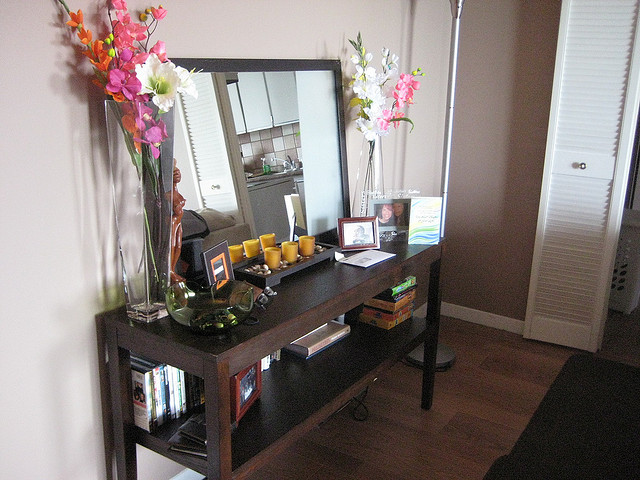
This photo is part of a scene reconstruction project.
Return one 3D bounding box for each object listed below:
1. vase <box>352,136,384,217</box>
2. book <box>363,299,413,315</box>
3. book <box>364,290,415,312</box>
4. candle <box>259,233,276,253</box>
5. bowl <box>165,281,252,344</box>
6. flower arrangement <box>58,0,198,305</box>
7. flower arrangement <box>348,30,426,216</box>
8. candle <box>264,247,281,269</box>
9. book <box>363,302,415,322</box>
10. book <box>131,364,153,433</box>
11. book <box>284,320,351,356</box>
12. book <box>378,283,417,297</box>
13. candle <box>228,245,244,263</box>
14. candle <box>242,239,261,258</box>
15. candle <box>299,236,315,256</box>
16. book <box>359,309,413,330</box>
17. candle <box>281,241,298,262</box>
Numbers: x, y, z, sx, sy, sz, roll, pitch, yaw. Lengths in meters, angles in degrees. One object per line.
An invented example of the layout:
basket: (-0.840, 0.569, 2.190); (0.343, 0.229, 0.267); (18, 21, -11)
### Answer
vase: (0.255, -0.336, 2.633); (0.182, 0.441, 0.375); (-5, 19, 1)
book: (0.347, 0.354, 2.546); (0.114, 0.028, 0.116); (9, 22, 42)
book: (0.351, 0.317, 2.497); (0.132, 0.032, 0.130); (8, 25, 39)
candle: (-0.224, 0.018, 2.121); (0.066, 0.075, 0.066); (-2, 13, 6)
bowl: (-0.382, 0.256, 1.673); (0.303, 0.196, 0.228); (-2, 3, -13)
flower arrangement: (-0.572, -0.299, 1.642); (0.318, 0.979, 0.301); (-18, 23, -31)
flower arrangement: (0.371, -0.651, 2.625); (0.349, 0.947, 0.607); (6, 22, 30)
candle: (-0.198, 0.078, 2.065); (0.079, 0.089, 0.078); (-9, 15, -37)
book: (0.352, 0.381, 2.560); (0.137, 0.033, 0.140); (8, 20, 35)
book: (-0.625, 0.561, 1.688); (0.086, 0.230, 0.050); (6, 22, 30)
book: (0.004, 0.481, 2.369); (0.130, 0.102, 0.385); (10, 24, 38)
book: (0.396, 0.260, 2.497); (0.104, 0.022, 0.101); (-15, 16, -37)
candle: (-0.353, 0.056, 2.032); (0.063, 0.069, 0.065); (4, 19, 29)
candle: (-0.294, 0.035, 2.090); (0.076, 0.083, 0.064); (-11, 13, -4)
candle: (-0.053, 0.028, 2.198); (0.076, 0.084, 0.076); (0, 14, -1)
book: (0.327, 0.431, 2.577); (0.130, 0.032, 0.132); (12, 21, 35)
candle: (-0.130, 0.052, 2.128); (0.076, 0.083, 0.077); (0, 13, 0)
